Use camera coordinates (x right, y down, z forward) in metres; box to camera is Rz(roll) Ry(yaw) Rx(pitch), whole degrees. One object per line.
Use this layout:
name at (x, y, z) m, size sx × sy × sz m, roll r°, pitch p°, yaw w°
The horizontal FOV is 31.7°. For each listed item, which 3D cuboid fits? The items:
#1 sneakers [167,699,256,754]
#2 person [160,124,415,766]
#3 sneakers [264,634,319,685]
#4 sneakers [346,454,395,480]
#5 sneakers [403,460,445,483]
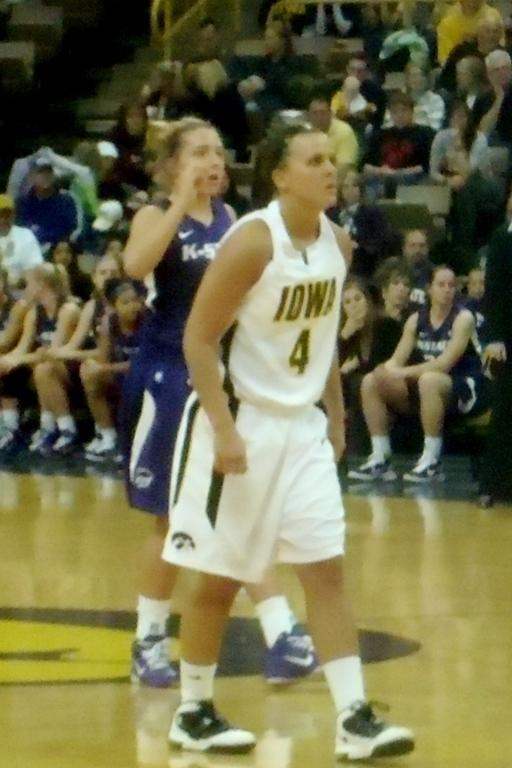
sneakers at (-0.099, 0.707, 1.881) m, size 0.195 × 0.101 × 0.083 m, roll -1°, pitch -4°, yaw 8°
person at (0.051, 0.116, 1.779) m, size 0.475 × 1.253 × 0.322 m, roll -1°, pitch 2°, yaw -6°
sneakers at (0.094, 0.702, 2.366) m, size 0.154 × 0.062 × 0.107 m, roll -16°, pitch 22°, yaw -37°
sneakers at (0.728, 0.532, 5.647) m, size 0.345 × 0.156 × 0.121 m, roll 0°, pitch -3°, yaw 1°
sneakers at (1.011, 0.540, 5.517) m, size 0.276 × 0.120 × 0.111 m, roll 1°, pitch -4°, yaw 5°
